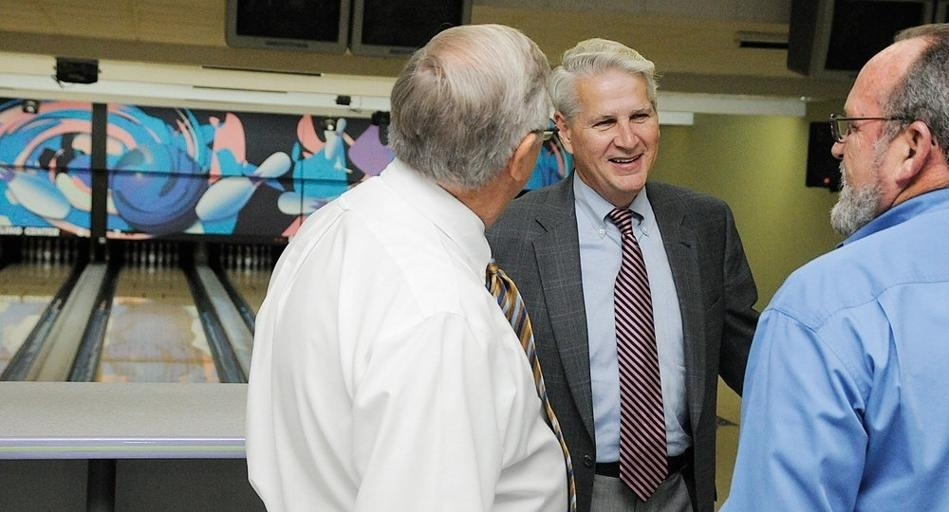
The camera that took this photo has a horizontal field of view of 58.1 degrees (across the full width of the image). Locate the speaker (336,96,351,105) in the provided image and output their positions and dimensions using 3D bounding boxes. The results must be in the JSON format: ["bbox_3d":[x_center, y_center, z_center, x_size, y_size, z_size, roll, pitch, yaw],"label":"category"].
[{"bbox_3d":[-0.588,-0.695,3.839,0.052,0.045,0.046,5,8,-3],"label":"speaker"}]

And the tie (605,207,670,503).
[{"bbox_3d":[0.582,0.348,3.074,0.179,1.019,0.283,0,7,0],"label":"tie"}]
